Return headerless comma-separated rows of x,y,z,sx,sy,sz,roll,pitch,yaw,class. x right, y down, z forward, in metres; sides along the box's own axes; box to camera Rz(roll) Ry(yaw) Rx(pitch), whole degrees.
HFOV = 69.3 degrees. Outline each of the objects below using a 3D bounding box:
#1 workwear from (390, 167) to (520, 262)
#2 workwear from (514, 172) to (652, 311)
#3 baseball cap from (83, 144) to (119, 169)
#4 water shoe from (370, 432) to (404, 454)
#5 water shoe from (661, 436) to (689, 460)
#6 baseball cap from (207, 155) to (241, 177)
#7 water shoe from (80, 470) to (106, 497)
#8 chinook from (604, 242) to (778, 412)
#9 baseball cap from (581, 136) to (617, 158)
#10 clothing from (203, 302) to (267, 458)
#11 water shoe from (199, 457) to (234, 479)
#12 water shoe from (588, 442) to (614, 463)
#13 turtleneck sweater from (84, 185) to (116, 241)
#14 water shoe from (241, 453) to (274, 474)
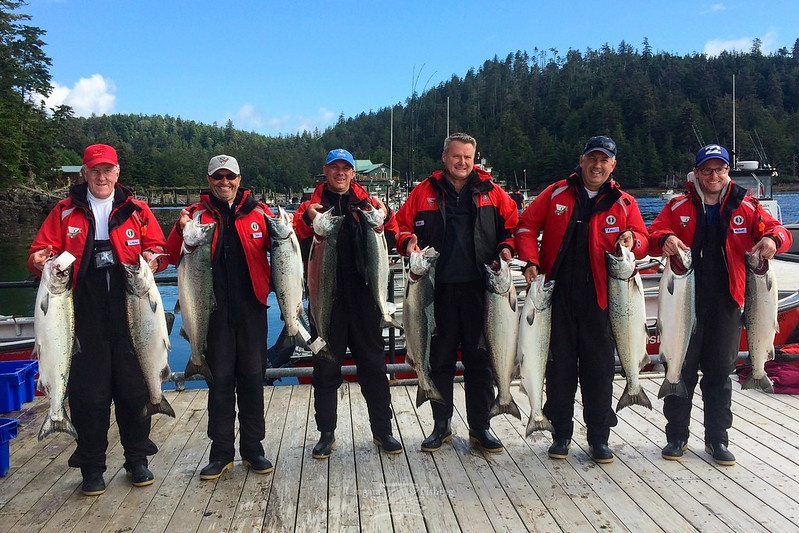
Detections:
0.511,-0.472,5.848,1.459,1.193,0.819,-1,5,-4,workwear
1.613,-0.384,5.902,1.427,1.716,1.197,4,2,-3,workwear
-2.652,-0.981,5.138,0.265,0.240,0.301,-7,6,-29,baseball cap
-0.106,1.702,5.610,0.133,0.126,0.309,-6,6,-40,water shoe
2.574,1.732,5.467,0.117,0.143,0.329,-5,-12,36,water shoe
-1.598,-0.920,5.281,0.257,0.198,0.311,-5,5,-5,baseball cap
-2.655,1.898,5.045,0.119,0.134,0.303,3,-13,-30,water shoe
2.785,0.584,5.514,0.599,1.764,0.404,5,-1,6,chinook
1.893,-1.144,5.438,0.193,0.165,0.283,12,2,15,baseball cap
-1.518,1.046,5.398,0.529,1.508,0.409,3,-19,-21,clothing
-1.660,1.839,5.303,0.120,0.138,0.304,-1,-7,33,water shoe
1.886,1.751,5.449,0.112,0.117,0.272,-2,-5,-5,water shoe
-2.605,-0.467,5.155,0.201,0.410,0.284,2,5,-13,turtleneck sweater
-1.301,1.803,5.384,0.314,0.136,0.129,3,12,32,water shoe
